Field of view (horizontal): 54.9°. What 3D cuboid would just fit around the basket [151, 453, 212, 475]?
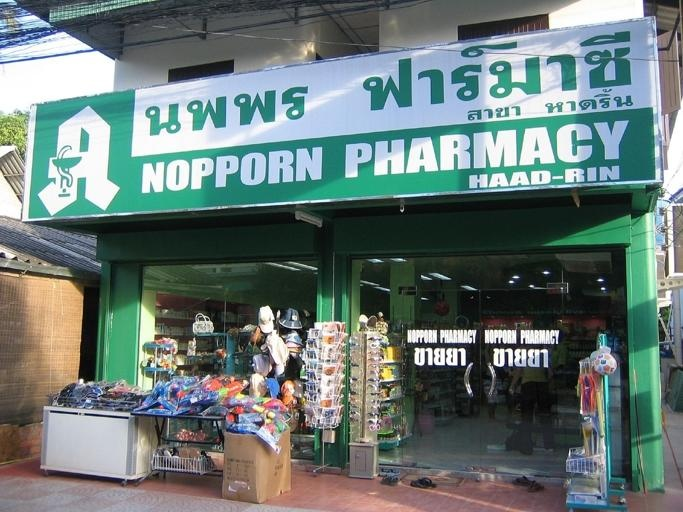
[{"bbox_3d":[-2.318,2.994,9.491,0.480,0.197,0.477,2,-12,4],"label":"basket"}]

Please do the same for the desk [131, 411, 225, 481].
[{"bbox_3d":[-2.329,2.877,10.070,1.438,1.042,1.127,1,-5,9],"label":"desk"}]

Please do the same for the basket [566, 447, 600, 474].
[{"bbox_3d":[3.133,2.685,8.650,0.368,0.352,0.540,1,-1,4],"label":"basket"}]

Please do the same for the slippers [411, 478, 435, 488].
[{"bbox_3d":[1.180,3.270,9.488,0.216,0.079,0.158,-3,-7,17],"label":"slippers"}]

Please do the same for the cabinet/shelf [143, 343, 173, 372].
[{"bbox_3d":[-3.267,1.818,11.784,0.535,0.528,0.527,3,-12,-16],"label":"cabinet/shelf"}]

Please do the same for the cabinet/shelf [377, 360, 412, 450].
[{"bbox_3d":[0.843,2.379,10.373,0.548,1.427,1.249,0,-10,10],"label":"cabinet/shelf"}]

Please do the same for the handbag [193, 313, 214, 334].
[{"bbox_3d":[-2.420,1.183,11.442,0.430,0.417,0.280,0,-10,9],"label":"handbag"}]
